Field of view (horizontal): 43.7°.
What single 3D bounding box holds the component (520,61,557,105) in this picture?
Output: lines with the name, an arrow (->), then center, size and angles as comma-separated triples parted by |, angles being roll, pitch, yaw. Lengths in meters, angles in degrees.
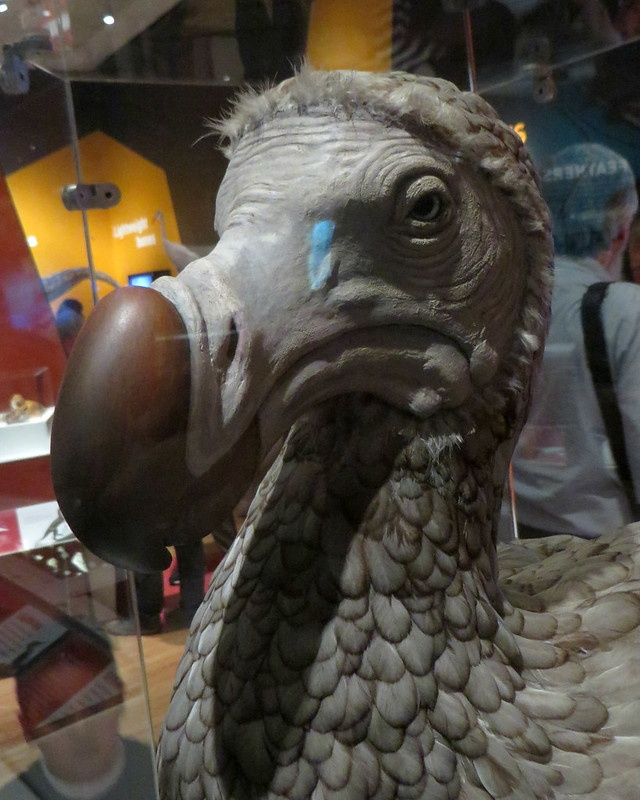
component -> 0.284, -0.408, 1.032 | 0.015, 0.049, 0.041 | -3, -20, -41
